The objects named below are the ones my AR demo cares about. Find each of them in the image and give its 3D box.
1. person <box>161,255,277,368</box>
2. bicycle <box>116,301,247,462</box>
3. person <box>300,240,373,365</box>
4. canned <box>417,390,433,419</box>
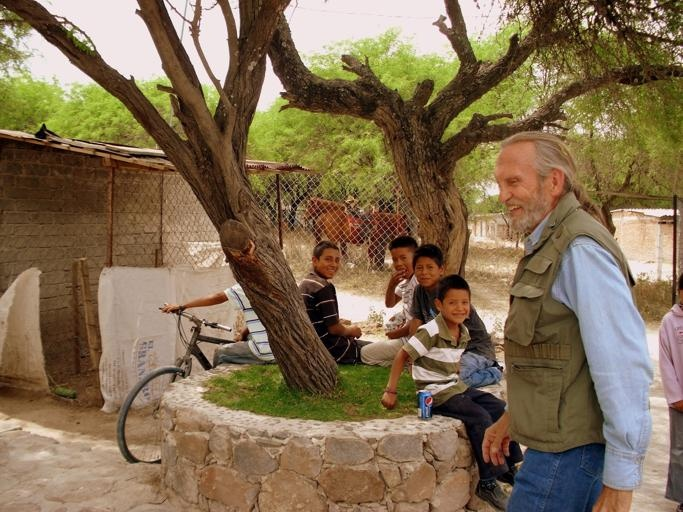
[{"bbox_3d":[-1.298,0.959,6.654,1.254,1.793,0.956,-3,2,0],"label":"person"},{"bbox_3d":[-1.798,1.297,6.869,1.161,1.461,2.110,-4,8,-1],"label":"bicycle"},{"bbox_3d":[-0.143,0.576,6.492,0.414,1.434,0.859,2,10,38],"label":"person"},{"bbox_3d":[0.721,1.270,5.116,0.119,0.253,0.082,-5,8,-4],"label":"canned"}]
